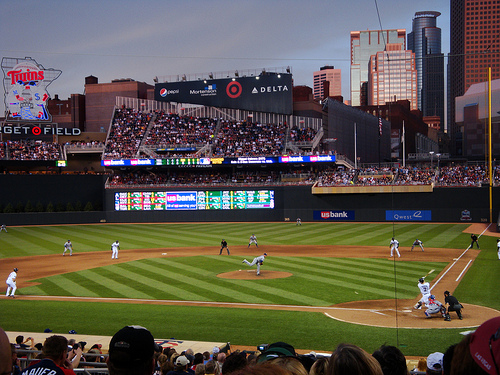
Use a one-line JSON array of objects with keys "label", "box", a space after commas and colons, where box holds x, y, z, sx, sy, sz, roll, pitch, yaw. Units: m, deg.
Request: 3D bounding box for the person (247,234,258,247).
[{"label": "person", "box": [0.367, 6.273, 100.248, 1.006, 1.615, 1.029, -5, -27, 8]}]

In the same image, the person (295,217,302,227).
[{"label": "person", "box": [6.557, 4.622, 114.933, 0.994, 0.858, 2.684, 0, 3, 9]}]

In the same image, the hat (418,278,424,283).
[{"label": "hat", "box": [15.976, 8.649, 80.078, 0.491, 0.538, 0.656, 2, -3, 5]}]
